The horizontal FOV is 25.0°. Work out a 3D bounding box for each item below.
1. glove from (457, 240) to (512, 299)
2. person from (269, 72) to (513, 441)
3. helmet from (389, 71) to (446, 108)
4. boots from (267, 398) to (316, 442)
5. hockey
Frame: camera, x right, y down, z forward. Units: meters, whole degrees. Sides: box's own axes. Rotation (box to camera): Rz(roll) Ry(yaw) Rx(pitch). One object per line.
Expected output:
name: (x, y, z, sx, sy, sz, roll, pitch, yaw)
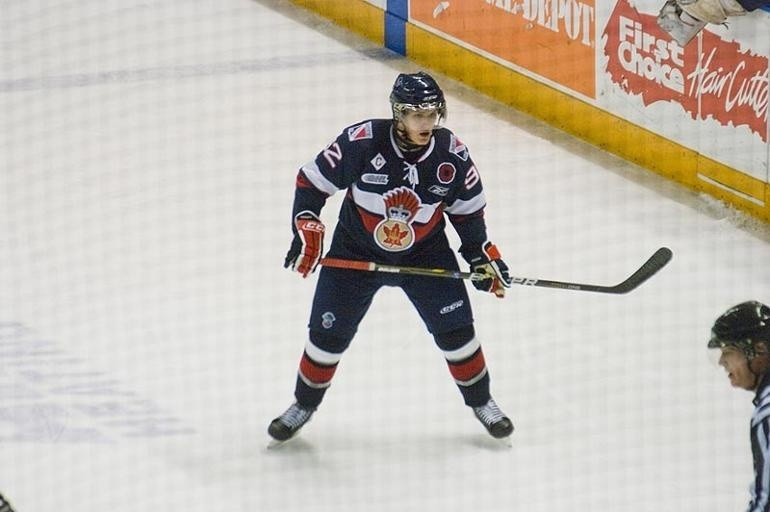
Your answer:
glove: (0.584, 0.081, 10.342, 0.250, 0.328, 0.254, 0, 0, -5)
person: (0.057, -0.045, 10.724, 1.363, 2.176, 1.270, 0, 8, 0)
helmet: (0.184, -0.966, 10.074, 0.322, 0.200, 0.281, 5, 7, 7)
boots: (-0.566, 0.981, 10.406, 0.125, 0.158, 0.399, 48, 49, 12)
hockey: (0.615, 0.030, 10.159, 2.138, 0.243, 0.214, 4, 16, 17)
